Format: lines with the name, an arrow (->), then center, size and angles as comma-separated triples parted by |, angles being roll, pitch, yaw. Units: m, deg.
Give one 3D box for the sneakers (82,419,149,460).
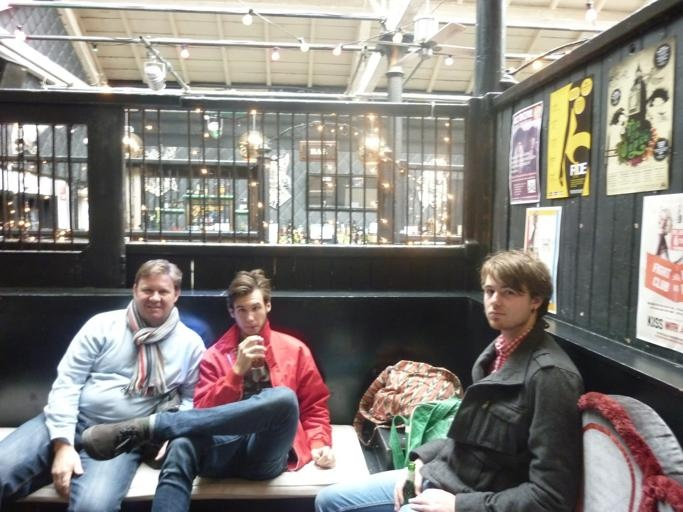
sneakers -> -1.221, 0.985, 3.636 | 0.448, 0.165, 0.195 | -9, 9, -12
